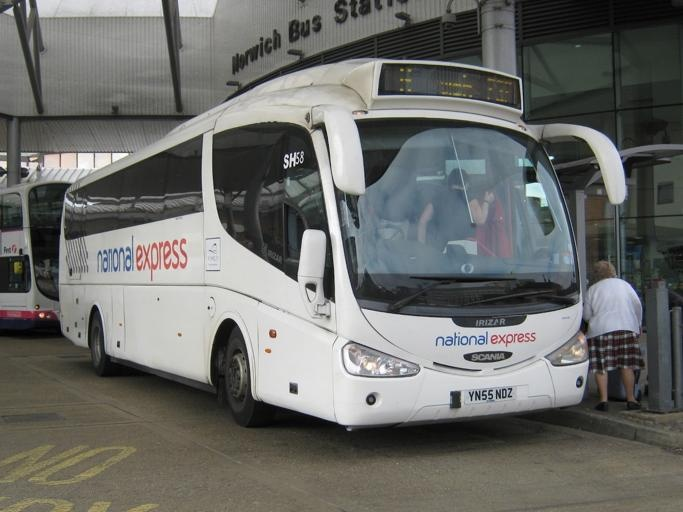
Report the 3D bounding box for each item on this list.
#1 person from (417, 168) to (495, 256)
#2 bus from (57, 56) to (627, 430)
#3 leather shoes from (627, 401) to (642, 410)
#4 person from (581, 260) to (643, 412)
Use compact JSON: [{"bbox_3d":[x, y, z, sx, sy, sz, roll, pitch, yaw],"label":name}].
[{"bbox_3d":[1.256,-0.518,8.161,0.978,0.914,0.209,0,0,-32],"label":"person"},{"bbox_3d":[-1.248,-0.110,11.763,3.232,4.221,9.950,2,-3,-29],"label":"bus"},{"bbox_3d":[3.772,1.913,9.566,0.186,0.100,0.203,-1,0,13],"label":"leather shoes"},{"bbox_3d":[3.625,1.098,9.856,0.612,2.102,0.651,-4,-25,21],"label":"person"}]
